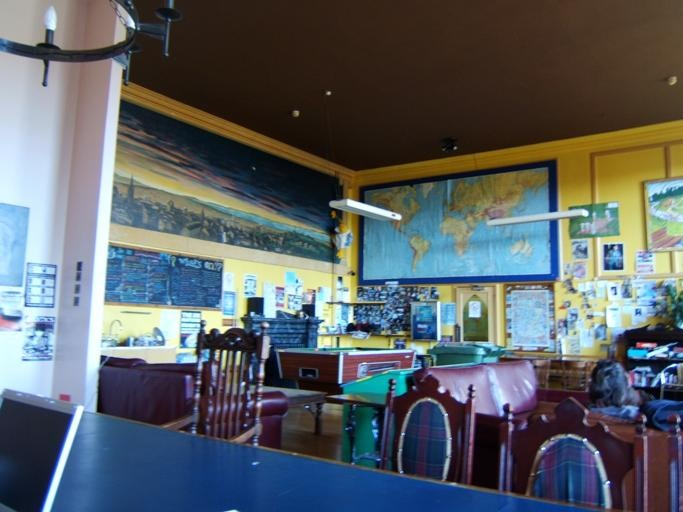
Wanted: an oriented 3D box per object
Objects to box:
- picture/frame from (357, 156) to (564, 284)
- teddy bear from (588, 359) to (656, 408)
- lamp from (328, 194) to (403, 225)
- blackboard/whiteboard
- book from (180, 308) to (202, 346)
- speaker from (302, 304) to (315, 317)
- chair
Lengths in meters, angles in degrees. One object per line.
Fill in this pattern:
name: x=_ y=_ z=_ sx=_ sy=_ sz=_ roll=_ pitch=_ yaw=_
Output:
picture/frame: x=2.106 y=-0.537 z=9.924 sx=3.732 sy=2.046 sz=0.112 roll=-4 pitch=-3 yaw=30
teddy bear: x=1.875 y=0.890 z=3.521 sx=0.426 sy=0.368 sz=0.255 roll=-3 pitch=12 yaw=-16
lamp: x=0.256 y=-0.708 z=7.455 sx=1.175 sy=0.273 sz=0.597 roll=9 pitch=-12 yaw=-39
blackboard/whiteboard: x=-2.436 y=0.335 z=7.499 sx=0.036 sy=0.823 sz=1.798 roll=-12 pitch=-16 yaw=41
book: x=-2.119 y=1.064 z=7.615 sx=0.467 sy=0.571 sz=0.067 roll=0 pitch=-3 yaw=7
speaker: x=-0.583 y=0.954 z=9.291 sx=0.220 sy=0.203 sz=0.387 roll=-2 pitch=1 yaw=-14
chair: x=0.498 y=0.913 z=3.190 sx=2.630 sy=0.869 sz=1.836 roll=-4 pitch=-10 yaw=30
